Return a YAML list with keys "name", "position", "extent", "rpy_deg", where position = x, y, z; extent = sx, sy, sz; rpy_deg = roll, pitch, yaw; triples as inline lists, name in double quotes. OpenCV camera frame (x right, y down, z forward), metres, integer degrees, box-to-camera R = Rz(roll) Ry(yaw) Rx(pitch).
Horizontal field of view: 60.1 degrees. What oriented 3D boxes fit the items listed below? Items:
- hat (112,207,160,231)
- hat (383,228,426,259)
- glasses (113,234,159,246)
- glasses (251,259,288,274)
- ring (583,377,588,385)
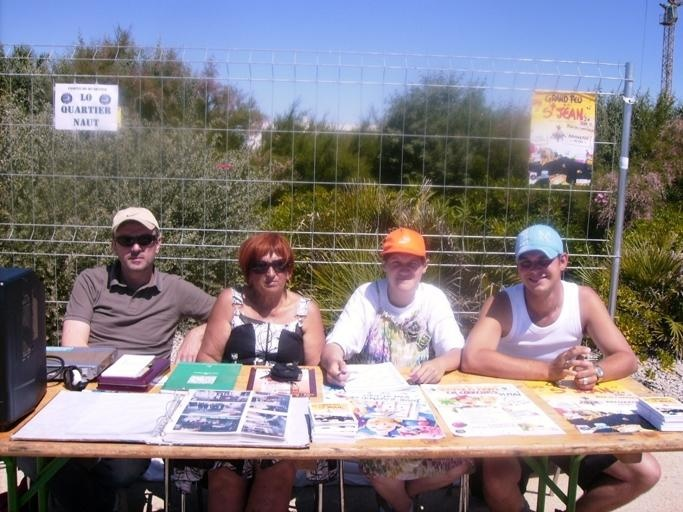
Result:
- name: "hat"
  position: [-1.629, -0.294, 4.661]
  extent: [0.331, 0.178, 0.256]
  rpy_deg: [-1, 9, -12]
- name: "hat"
  position: [0.443, -0.103, 4.229]
  extent: [0.289, 0.185, 0.249]
  rpy_deg: [1, 8, 3]
- name: "glasses"
  position: [-1.609, -0.128, 4.591]
  extent: [0.280, 0.101, 0.084]
  rpy_deg: [-2, 9, -20]
- name: "glasses"
  position: [-0.513, 0.069, 4.211]
  extent: [0.259, 0.093, 0.083]
  rpy_deg: [-1, 9, -15]
- name: "ring"
  position: [1.541, 0.782, 3.724]
  extent: [0.028, 0.047, 0.023]
  rpy_deg: [7, 17, 15]
